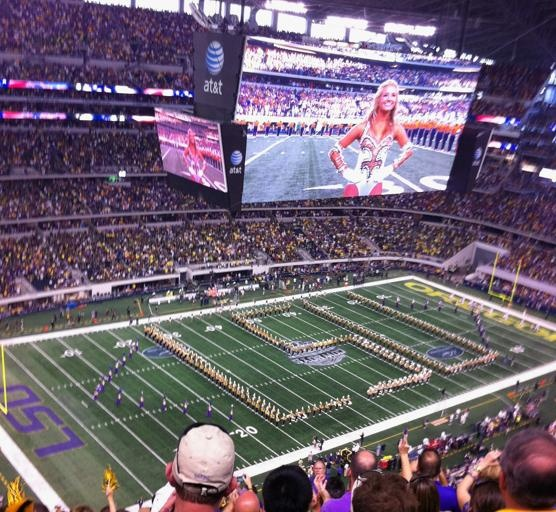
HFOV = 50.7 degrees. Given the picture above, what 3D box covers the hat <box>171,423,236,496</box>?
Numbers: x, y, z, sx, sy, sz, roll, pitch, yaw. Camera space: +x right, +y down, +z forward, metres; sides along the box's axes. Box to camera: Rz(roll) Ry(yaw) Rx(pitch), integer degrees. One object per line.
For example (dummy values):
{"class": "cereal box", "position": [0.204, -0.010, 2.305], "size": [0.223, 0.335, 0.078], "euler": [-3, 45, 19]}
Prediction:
{"class": "hat", "position": [-0.474, 1.236, 3.772], "size": [0.271, 0.251, 0.422], "euler": [8, 18, -4]}
